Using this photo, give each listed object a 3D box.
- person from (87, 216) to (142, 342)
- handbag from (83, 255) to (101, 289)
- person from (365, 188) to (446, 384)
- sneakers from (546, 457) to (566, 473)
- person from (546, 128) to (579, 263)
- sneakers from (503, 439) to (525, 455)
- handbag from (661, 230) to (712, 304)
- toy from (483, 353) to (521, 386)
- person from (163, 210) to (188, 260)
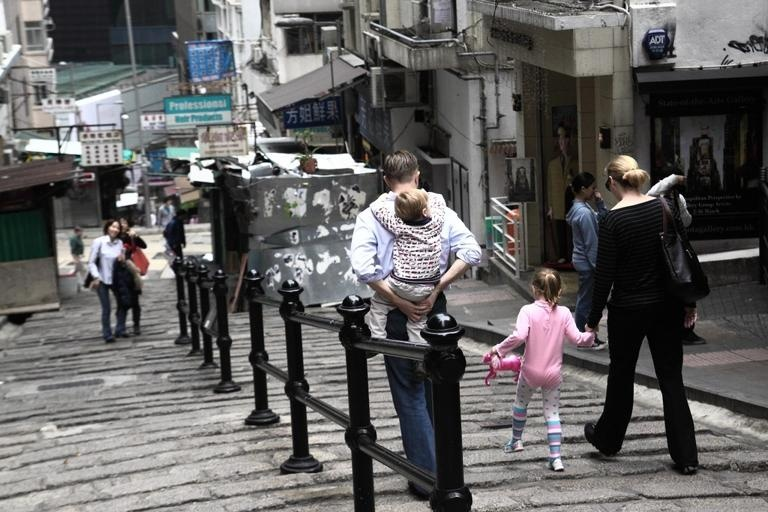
[{"bbox_3d":[-4.908,0.424,17.520,0.740,2.056,0.700,-5,11,-22],"label":"person"},{"bbox_3d":[-5.340,0.313,17.799,0.264,0.652,0.959,-5,11,-22],"label":"handbag"},{"bbox_3d":[0.226,0.076,9.364,0.745,1.434,0.430,-1,10,2],"label":"person"},{"bbox_3d":[1.705,2.037,9.569,0.081,0.099,0.210,0,4,-5],"label":"sneakers"},{"bbox_3d":[3.744,-1.336,20.222,0.891,3.119,0.788,-5,-25,11],"label":"person"},{"bbox_3d":[1.327,1.937,9.972,0.103,0.109,0.215,-1,1,-14],"label":"sneakers"},{"bbox_3d":[2.951,0.129,9.629,0.467,0.720,0.280,2,11,18],"label":"handbag"},{"bbox_3d":[1.206,1.106,9.907,0.369,0.328,0.430,0,11,6],"label":"toy"},{"bbox_3d":[-5.306,-0.504,24.897,0.539,1.149,1.391,-4,11,-12],"label":"person"}]
